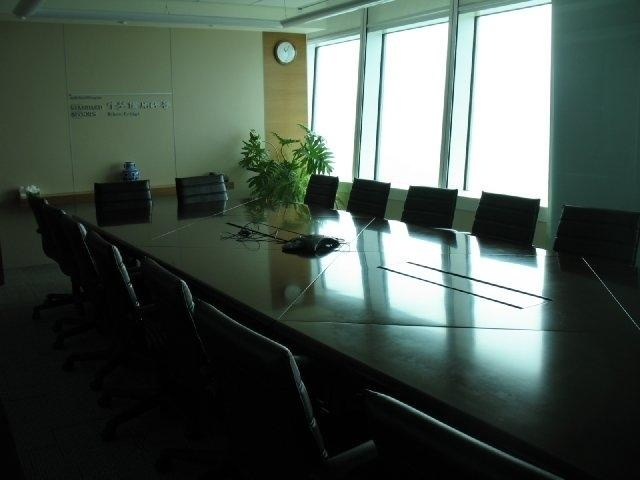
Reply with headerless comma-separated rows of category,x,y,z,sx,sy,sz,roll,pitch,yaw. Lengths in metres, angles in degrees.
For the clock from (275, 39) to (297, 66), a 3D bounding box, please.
clock,-0.516,-2.804,7.574,0.366,0.331,0.075,-11,18,-35
